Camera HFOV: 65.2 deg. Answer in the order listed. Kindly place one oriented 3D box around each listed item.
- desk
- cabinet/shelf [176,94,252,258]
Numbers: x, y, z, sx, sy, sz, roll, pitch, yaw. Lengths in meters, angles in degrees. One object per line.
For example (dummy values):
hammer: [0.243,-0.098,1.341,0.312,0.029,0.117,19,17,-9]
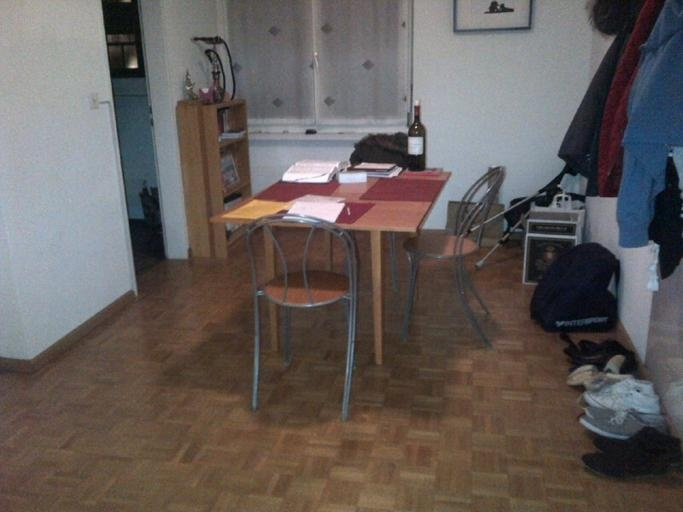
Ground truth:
desk: [-0.012,-0.284,3.109,1.048,0.795,1.601,4,24,11]
cabinet/shelf: [-1.150,-0.677,4.670,0.382,1.320,1.286,-1,18,2]
